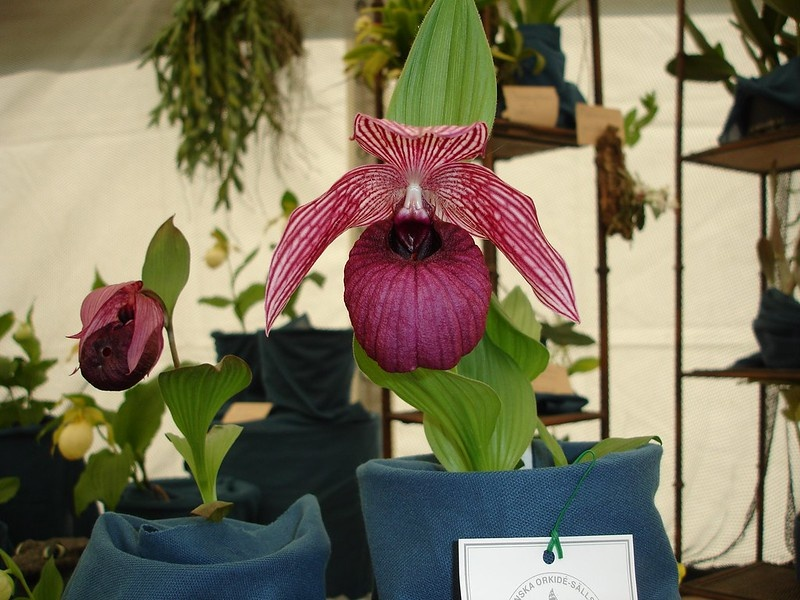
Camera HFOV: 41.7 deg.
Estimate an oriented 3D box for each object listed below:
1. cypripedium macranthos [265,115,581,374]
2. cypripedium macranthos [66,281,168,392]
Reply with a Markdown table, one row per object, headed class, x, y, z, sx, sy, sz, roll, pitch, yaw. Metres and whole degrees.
| class | x | y | z | sx | sy | sz | roll | pitch | yaw |
| --- | --- | --- | --- | --- | --- | --- | --- | --- | --- |
| cypripedium macranthos | 0.036 | -0.091 | 1.798 | 0.515 | 0.424 | 0.171 | -2 | -3 | 9 |
| cypripedium macranthos | -0.476 | 0.074 | 1.863 | 0.167 | 0.217 | 0.184 | 2 | -6 | 20 |
